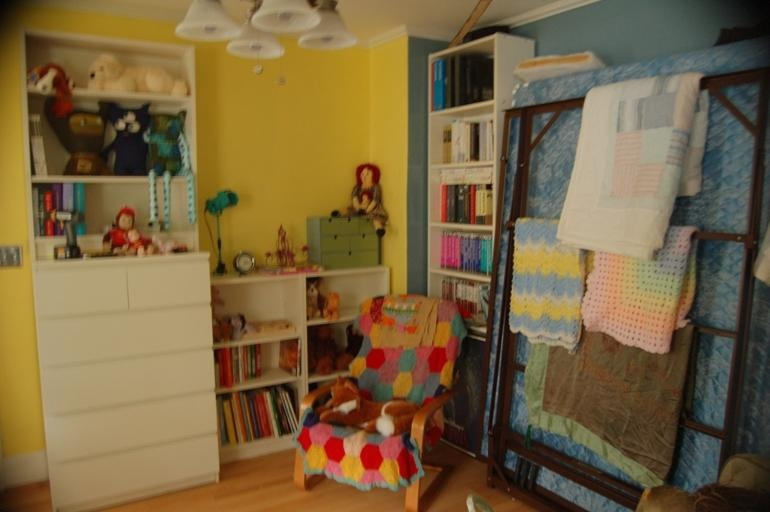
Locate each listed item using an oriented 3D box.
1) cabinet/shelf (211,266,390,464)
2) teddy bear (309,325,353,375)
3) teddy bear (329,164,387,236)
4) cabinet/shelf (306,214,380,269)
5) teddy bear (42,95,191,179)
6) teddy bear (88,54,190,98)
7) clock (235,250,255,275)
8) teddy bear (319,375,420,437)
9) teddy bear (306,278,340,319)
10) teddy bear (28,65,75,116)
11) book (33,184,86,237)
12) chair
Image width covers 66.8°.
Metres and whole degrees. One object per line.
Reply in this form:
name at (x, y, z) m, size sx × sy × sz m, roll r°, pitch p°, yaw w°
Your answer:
cabinet/shelf at (-0.680, 0.842, 4.362) m, size 1.291 × 1.225 × 0.351 m, roll -3°, pitch 9°, yaw -24°
teddy bear at (-0.478, 0.756, 4.835) m, size 0.295 × 0.198 × 0.400 m, roll -3°, pitch 0°, yaw -8°
teddy bear at (-0.219, -0.458, 4.879) m, size 0.526 × 0.564 × 0.331 m, roll 5°, pitch 5°, yaw 24°
cabinet/shelf at (-0.368, -0.109, 4.891) m, size 0.698 × 0.524 × 0.381 m, roll 2°, pitch 4°, yaw -34°
teddy bear at (-1.919, -0.837, 4.102) m, size 0.607 × 0.377 × 0.103 m, roll -1°, pitch 2°, yaw -35°
teddy bear at (-1.723, -1.160, 4.103) m, size 0.537 × 0.228 × 0.328 m, roll 5°, pitch 3°, yaw -23°
clock at (-1.063, 0.048, 4.472) m, size 0.164 × 0.175 × 0.148 m, roll 14°, pitch 10°, yaw 44°
teddy bear at (-0.121, 1.025, 3.967) m, size 0.544 × 0.241 × 0.349 m, roll 3°, pitch 3°, yaw 8°
teddy bear at (-0.508, 0.346, 4.659) m, size 0.313 × 0.332 × 0.231 m, roll 0°, pitch 0°, yaw 34°
teddy bear at (-2.195, -1.097, 3.869) m, size 0.145 × 0.333 × 0.279 m, roll 8°, pitch 13°, yaw 43°
book at (-2.218, -0.315, 3.957) m, size 0.347 × 0.530 × 0.169 m, roll -1°, pitch 2°, yaw -41°
chair at (0.010, 0.878, 4.314) m, size 1.058 × 1.232 × 1.399 m, roll 4°, pitch 8°, yaw 25°
